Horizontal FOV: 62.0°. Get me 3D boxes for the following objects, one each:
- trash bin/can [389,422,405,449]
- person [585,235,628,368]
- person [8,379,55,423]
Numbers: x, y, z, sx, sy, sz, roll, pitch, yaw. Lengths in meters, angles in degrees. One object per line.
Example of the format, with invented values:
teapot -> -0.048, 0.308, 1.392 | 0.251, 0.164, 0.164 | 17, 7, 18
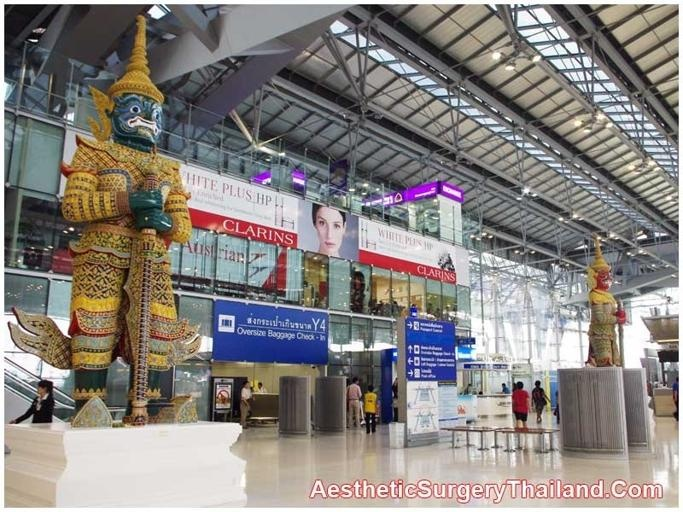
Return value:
trash bin/can -> 1.263, 4.016, 12.836 | 0.340, 0.544, 0.423 | -1, -14, 6
person -> 6.023, 1.027, 13.177 | 0.722, 2.938, 0.939 | -9, -17, 33
person -> -4.894, 2.307, 9.118 | 0.459, 0.651, 1.482 | 7, -16, -27
